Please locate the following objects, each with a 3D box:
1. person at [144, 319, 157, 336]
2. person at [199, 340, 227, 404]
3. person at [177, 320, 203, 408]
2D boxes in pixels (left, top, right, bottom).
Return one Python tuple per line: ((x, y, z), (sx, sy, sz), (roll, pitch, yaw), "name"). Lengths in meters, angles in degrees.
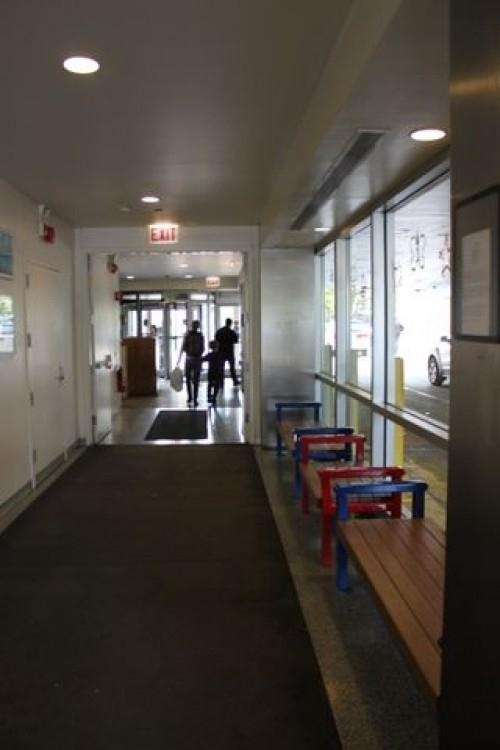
((-2.744, -1.327, 14.367), (0.330, 0.445, 1.099), (2, 2, -14), "person")
((-0.686, -0.063, 9.439), (0.378, 1.146, 0.794), (2, 2, -4), "person")
((-1.055, -0.248, 9.368), (0.396, 1.514, 1.006), (2, 2, -7), "person")
